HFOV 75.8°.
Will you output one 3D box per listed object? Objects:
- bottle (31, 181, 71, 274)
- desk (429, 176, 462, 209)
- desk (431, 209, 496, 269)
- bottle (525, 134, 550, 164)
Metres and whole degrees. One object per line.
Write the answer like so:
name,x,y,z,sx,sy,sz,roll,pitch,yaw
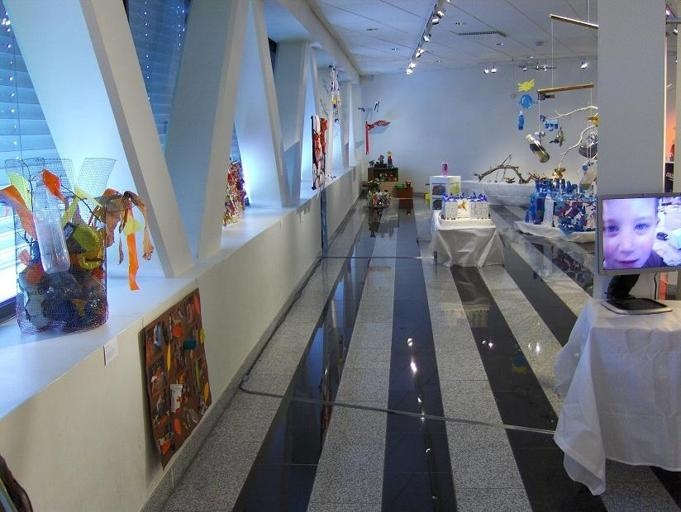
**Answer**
bottle,-1.343,-0.156,2.013,0.119,0.501,0.121,9,26,-5
desk,2.417,-1.447,10.121,0.622,0.710,1.318,2,14,13
desk,2.126,-0.516,7.783,1.085,0.725,1.782,0,25,7
bottle,3.668,-1.962,8.121,0.338,0.464,0.519,6,15,31
